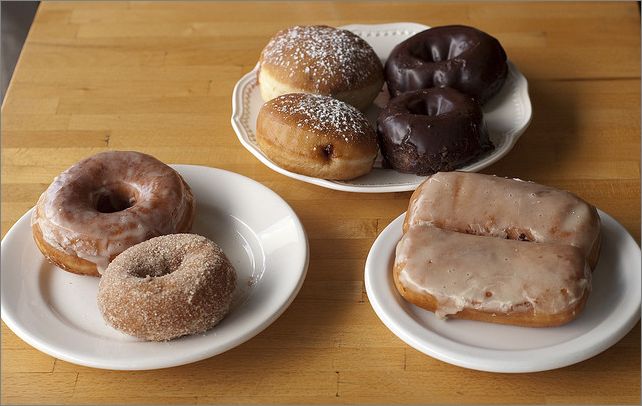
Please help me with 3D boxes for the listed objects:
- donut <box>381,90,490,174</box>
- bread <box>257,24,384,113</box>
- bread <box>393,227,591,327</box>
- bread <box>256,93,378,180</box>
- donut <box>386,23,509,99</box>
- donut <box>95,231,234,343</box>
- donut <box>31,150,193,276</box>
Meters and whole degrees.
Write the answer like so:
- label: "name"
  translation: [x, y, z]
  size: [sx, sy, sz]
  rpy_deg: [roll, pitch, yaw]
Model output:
- label: "donut"
  translation: [0.229, -0.141, 1.319]
  size: [0.193, 0.089, 0.191]
  rpy_deg: [-4, 41, 6]
- label: "bread"
  translation: [-0.003, -0.307, 1.434]
  size: [0.220, 0.108, 0.212]
  rpy_deg: [-15, 46, -21]
- label: "bread"
  translation: [0.279, 0.121, 1.072]
  size: [0.280, 0.082, 0.147]
  rpy_deg: [7, 45, 13]
- label: "bread"
  translation: [-0.008, -0.138, 1.327]
  size: [0.198, 0.092, 0.192]
  rpy_deg: [35, 32, 28]
- label: "donut"
  translation: [0.276, -0.316, 1.459]
  size: [0.208, 0.082, 0.200]
  rpy_deg: [-19, 42, -1]
- label: "donut"
  translation: [-0.281, 0.143, 1.176]
  size: [0.249, 0.103, 0.251]
  rpy_deg: [-8, 29, 1]
- label: "donut"
  translation: [-0.383, 0.003, 1.236]
  size: [0.254, 0.091, 0.240]
  rpy_deg: [-35, 62, -31]
